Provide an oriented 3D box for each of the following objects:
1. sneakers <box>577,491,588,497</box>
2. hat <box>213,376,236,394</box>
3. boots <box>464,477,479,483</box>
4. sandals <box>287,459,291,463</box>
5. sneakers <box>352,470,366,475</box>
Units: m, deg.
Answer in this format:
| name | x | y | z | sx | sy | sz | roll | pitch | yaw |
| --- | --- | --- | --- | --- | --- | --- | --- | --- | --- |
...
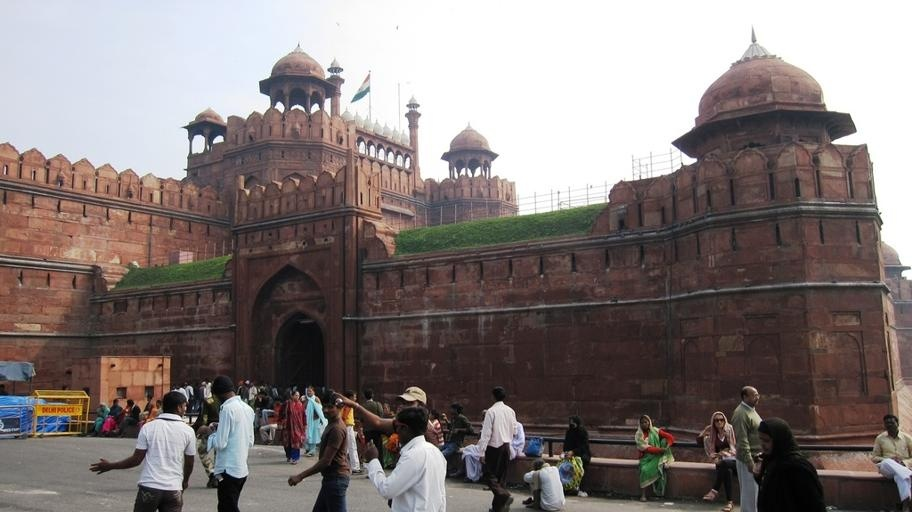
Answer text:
| name | x | y | z | sx | sy | sz | roll | pitch | yaw |
| --- | --- | --- | --- | --- | --- | --- | --- | --- | --- |
| sneakers | 3.251 | 6.096 | 21.753 | 0.111 | 0.092 | 0.214 | 5 | -16 | -26 |
| hat | -5.152 | 2.849 | 18.763 | 0.524 | 0.353 | 0.376 | -9 | -11 | 35 |
| boots | 0.406 | 6.065 | 23.036 | 0.421 | 0.254 | 0.134 | -4 | -7 | 21 |
| sandals | -4.887 | 5.971 | 24.765 | 0.071 | 0.077 | 0.196 | 4 | -17 | -21 |
| sneakers | -2.680 | 6.031 | 23.612 | 0.423 | 0.151 | 0.129 | -2 | -3 | -1 |
